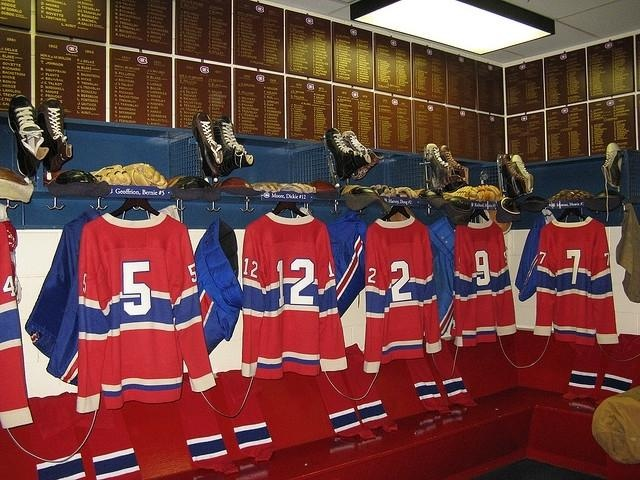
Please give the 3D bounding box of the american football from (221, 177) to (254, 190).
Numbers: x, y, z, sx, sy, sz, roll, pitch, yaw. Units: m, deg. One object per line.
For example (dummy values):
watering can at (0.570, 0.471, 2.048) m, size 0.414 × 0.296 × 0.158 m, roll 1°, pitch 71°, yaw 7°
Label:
american football at (-0.543, -0.362, 3.901) m, size 0.202 × 0.089 × 0.146 m, roll -6°, pitch 6°, yaw -9°

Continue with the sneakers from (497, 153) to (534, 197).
sneakers at (1.629, -0.551, 5.060) m, size 0.219 × 0.624 × 0.200 m, roll -1°, pitch 11°, yaw 30°

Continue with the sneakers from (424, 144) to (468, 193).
sneakers at (1.004, -0.576, 4.791) m, size 0.191 × 0.284 × 0.613 m, roll -8°, pitch 20°, yaw -5°

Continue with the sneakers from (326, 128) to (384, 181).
sneakers at (0.225, -0.601, 4.277) m, size 0.268 × 0.475 × 0.174 m, roll -1°, pitch -17°, yaw -34°
